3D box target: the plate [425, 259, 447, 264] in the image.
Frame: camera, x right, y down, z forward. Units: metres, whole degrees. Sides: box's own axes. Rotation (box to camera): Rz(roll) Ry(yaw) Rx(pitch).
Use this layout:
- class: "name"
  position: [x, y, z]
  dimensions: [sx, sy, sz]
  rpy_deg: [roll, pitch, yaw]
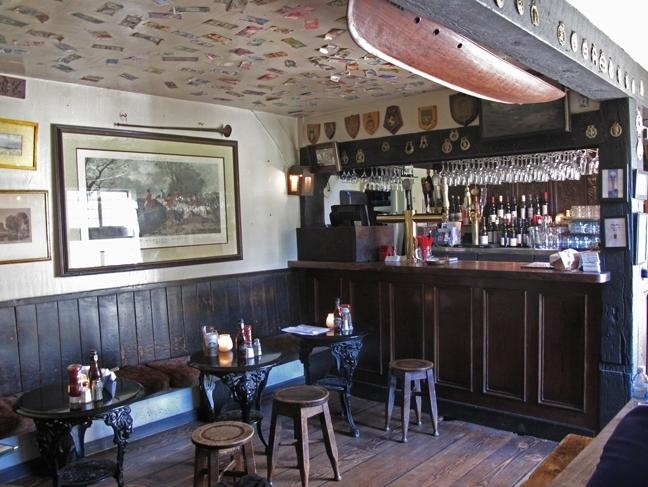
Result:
- class: "plate"
  position: [1.205, 0.188, 5.232]
  dimensions: [0.234, 0.056, 0.274]
  rpy_deg: [-1, 6, 12]

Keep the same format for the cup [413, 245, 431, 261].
- class: "cup"
  position: [1.125, 0.116, 5.524]
  dimensions: [0.172, 0.156, 0.164]
  rpy_deg: [2, 1, 0]

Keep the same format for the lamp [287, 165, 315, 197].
- class: "lamp"
  position: [-0.299, -0.779, 6.215]
  dimensions: [0.387, 0.483, 0.369]
  rpy_deg: [2, 10, 9]

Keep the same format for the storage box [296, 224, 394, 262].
- class: "storage box"
  position: [0.255, 0.001, 5.937]
  dimensions: [1.189, 0.438, 0.653]
  rpy_deg: [-2, 6, 1]

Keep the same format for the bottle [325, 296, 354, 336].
- class: "bottle"
  position: [0.164, 0.691, 4.691]
  dimensions: [0.250, 0.256, 0.414]
  rpy_deg: [-2, 6, 2]

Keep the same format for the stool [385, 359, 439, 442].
- class: "stool"
  position: [0.833, 1.417, 4.660]
  dimensions: [0.503, 0.694, 0.713]
  rpy_deg: [-1, 6, 12]

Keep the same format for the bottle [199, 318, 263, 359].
- class: "bottle"
  position: [-0.790, 0.817, 4.278]
  dimensions: [0.477, 0.274, 0.338]
  rpy_deg: [-2, -4, 19]

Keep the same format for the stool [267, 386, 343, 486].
- class: "stool"
  position: [-0.125, 1.507, 3.869]
  dimensions: [0.642, 0.687, 0.432]
  rpy_deg: [-7, 8, -40]

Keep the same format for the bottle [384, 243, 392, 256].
- class: "bottle"
  position: [0.782, 0.088, 5.883]
  dimensions: [0.121, 0.128, 0.380]
  rpy_deg: [-1, 6, 6]

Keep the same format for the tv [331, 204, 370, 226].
- class: "tv"
  position: [0.321, -0.350, 6.039]
  dimensions: [0.429, 0.275, 0.297]
  rpy_deg: [0, 10, 26]

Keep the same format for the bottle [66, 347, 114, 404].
- class: "bottle"
  position: [-1.627, 0.961, 3.510]
  dimensions: [0.307, 0.388, 0.396]
  rpy_deg: [-1, -5, 6]
